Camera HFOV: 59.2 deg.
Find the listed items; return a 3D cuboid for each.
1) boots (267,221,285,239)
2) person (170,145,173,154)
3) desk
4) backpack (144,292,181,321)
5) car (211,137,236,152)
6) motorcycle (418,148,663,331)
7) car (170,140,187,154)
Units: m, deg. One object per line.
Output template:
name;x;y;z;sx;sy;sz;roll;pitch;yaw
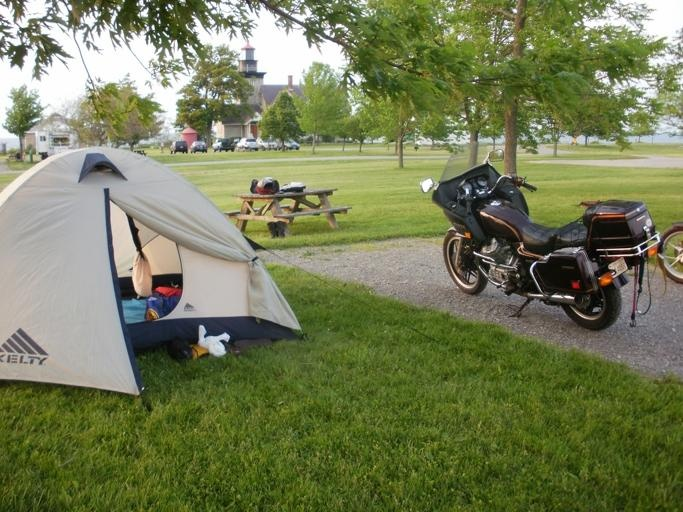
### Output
boots;-1.432;-0.564;13.595;0.343;0.497;0.388;-7;15;2
person;-17.444;-10.793;62.427;0.277;0.927;0.663;2;-1;-31
desk;-1.429;-1.037;14.135;1.618;0.688;1.759;6;12;35
backpack;-2.182;0.604;7.218;0.263;0.109;0.412;16;25;7
car;-13.334;-12.269;67.687;1.615;1.332;2.786;-6;18;-21
motorcycle;2.397;-0.179;7.936;1.431;1.973;3.525;-16;18;-24
car;-16.887;-11.181;62.621;1.078;1.079;2.138;-5;18;-22
